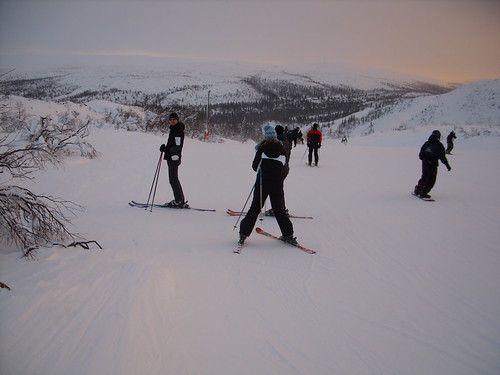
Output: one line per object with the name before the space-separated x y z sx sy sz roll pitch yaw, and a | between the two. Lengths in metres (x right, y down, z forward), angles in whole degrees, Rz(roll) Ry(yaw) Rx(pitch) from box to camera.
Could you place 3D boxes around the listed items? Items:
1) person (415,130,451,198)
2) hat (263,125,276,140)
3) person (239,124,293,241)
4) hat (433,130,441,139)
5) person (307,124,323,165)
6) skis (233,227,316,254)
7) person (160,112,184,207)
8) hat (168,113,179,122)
person | 5.588 -0.684 12.539 0.822 2.098 1.372 11 22 23
hat | 0.467 -1.280 9.292 0.328 0.298 0.254 31 30 24
person | 0.450 0.008 9.057 1.266 2.485 1.111 2 20 -2
hat | 5.593 -1.579 12.221 0.225 0.255 0.313 9 21 19
person | 2.849 -1.928 18.405 0.679 2.059 0.583 10 29 19
skis | 0.535 1.234 9.246 1.347 0.102 0.170 20 41 35
person | -2.127 -0.704 11.495 0.643 2.737 1.179 -2 20 -11
hat | -2.066 -1.916 11.092 0.196 0.239 0.280 4 -4 -3
